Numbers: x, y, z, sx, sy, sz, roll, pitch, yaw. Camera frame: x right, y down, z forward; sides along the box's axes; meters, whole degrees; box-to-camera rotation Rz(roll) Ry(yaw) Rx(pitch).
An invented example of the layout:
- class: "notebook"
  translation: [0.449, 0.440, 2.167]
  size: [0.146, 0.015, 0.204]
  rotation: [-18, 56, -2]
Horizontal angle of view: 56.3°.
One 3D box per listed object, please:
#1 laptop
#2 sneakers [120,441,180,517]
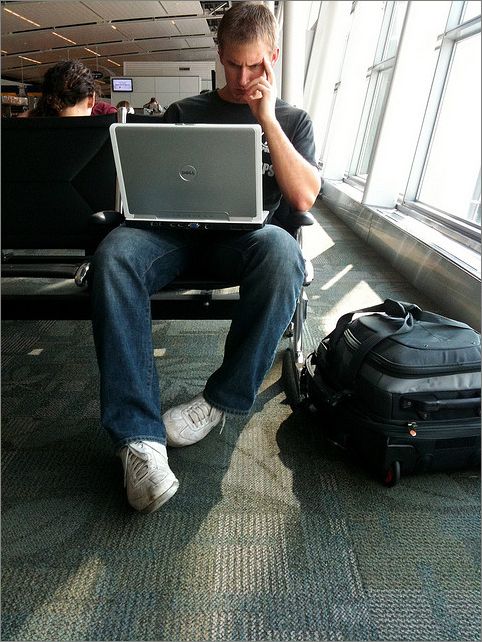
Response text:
- class: "laptop"
  translation: [-0.129, -0.446, 1.178]
  size: [0.356, 0.270, 0.275]
  rotation: [-1, 47, -2]
- class: "sneakers"
  translation: [-0.195, 0.326, 0.947]
  size: [0.096, 0.125, 0.126]
  rotation: [-6, 15, -28]
